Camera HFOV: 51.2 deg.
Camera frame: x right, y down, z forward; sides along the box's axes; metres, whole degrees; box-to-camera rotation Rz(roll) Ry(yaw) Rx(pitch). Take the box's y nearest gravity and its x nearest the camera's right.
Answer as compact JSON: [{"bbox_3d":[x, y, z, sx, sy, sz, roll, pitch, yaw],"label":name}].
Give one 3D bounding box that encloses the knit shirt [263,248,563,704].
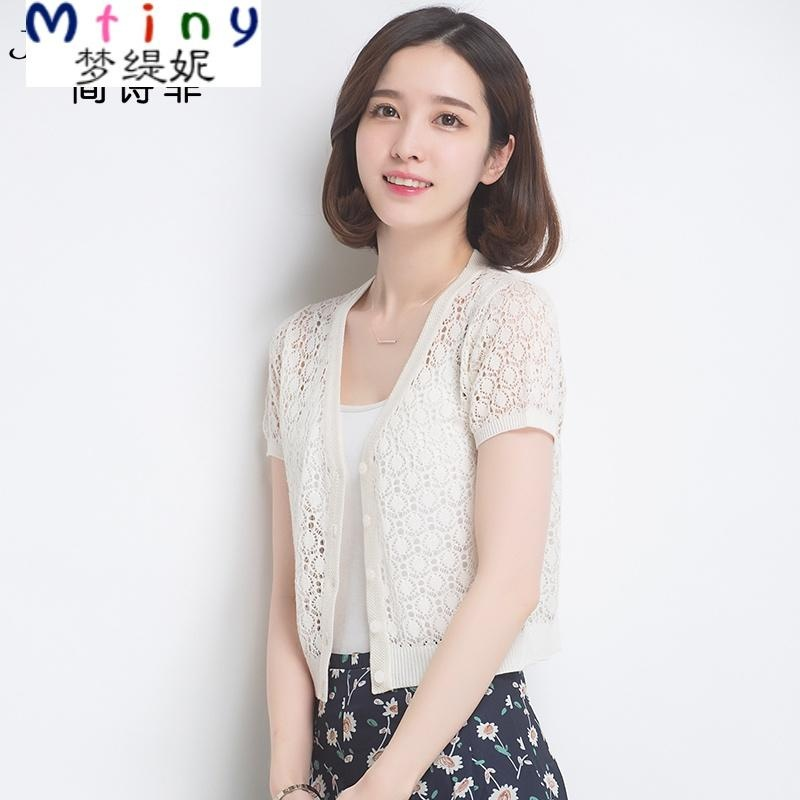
[{"bbox_3d":[-0.013,0.110,1.347,0.568,0.717,0.265,11,7,36],"label":"knit shirt"}]
